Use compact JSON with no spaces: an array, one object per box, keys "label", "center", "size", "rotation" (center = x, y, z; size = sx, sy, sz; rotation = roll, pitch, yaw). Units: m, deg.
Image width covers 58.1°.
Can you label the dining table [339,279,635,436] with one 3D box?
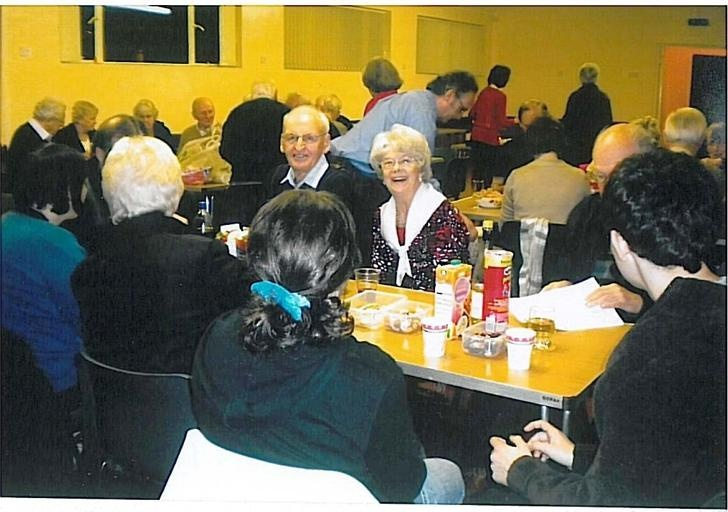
[{"label":"dining table","center":[0.425,0.389,2.209],"size":[0.943,0.296,0.420],"rotation":[3,9,9]}]

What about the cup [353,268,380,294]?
[{"label":"cup","center":[-0.003,0.101,2.502],"size":[0.087,0.071,0.093],"rotation":[1,0,0]}]
